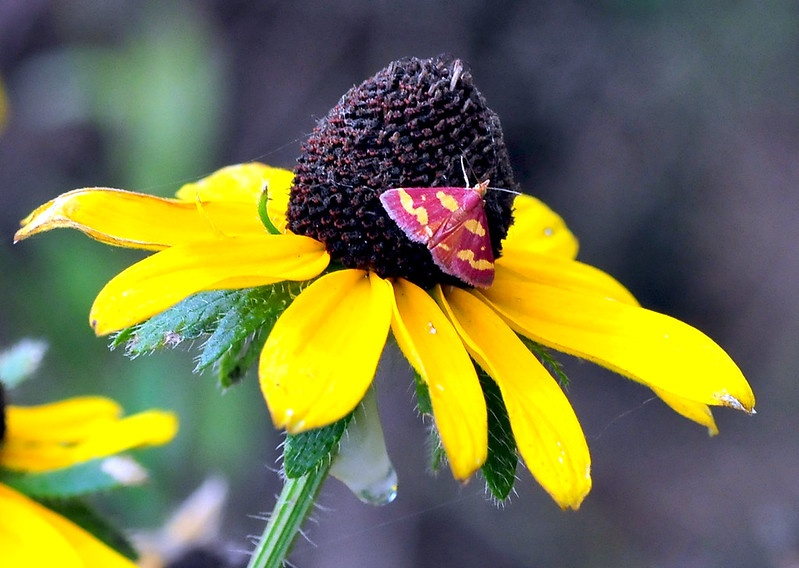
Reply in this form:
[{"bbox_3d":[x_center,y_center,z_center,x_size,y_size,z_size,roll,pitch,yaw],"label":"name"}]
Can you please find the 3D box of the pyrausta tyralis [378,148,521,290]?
[{"bbox_3d":[0.109,-0.111,1.639,0.256,0.267,0.204,-1,-2,-9],"label":"pyrausta tyralis"}]
